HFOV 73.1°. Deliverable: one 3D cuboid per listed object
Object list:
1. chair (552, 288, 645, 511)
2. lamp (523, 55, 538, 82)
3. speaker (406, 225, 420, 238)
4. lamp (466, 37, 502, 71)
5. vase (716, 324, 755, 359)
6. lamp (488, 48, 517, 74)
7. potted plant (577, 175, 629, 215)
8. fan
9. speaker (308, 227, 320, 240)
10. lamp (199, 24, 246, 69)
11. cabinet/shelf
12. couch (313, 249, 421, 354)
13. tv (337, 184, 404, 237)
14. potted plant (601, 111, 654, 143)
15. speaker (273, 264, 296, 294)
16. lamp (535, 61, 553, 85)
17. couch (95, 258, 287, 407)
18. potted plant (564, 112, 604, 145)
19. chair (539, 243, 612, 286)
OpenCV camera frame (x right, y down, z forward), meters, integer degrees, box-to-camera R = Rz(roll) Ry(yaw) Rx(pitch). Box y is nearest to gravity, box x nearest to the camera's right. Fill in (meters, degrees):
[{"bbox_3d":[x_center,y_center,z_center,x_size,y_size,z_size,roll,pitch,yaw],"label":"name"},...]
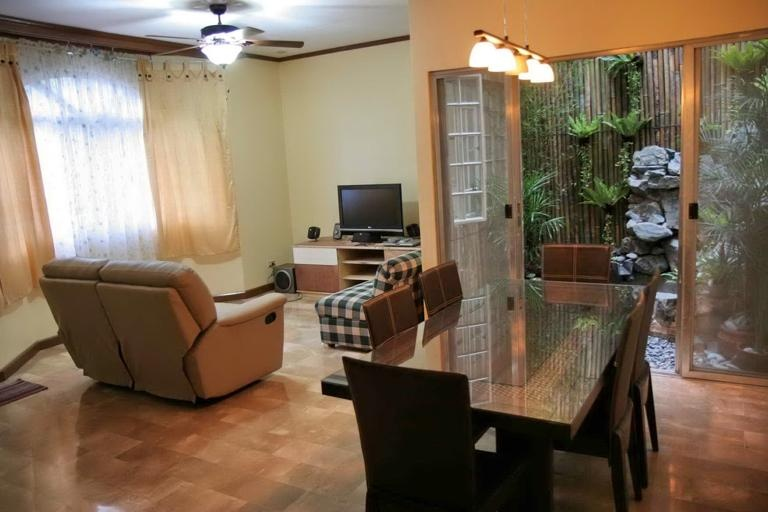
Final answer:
[{"bbox_3d":[1.284,0.880,2.951,0.555,1.289,0.336,-16,17,-42],"label":"chair"},{"bbox_3d":[0.944,-1.196,3.305,0.118,0.133,0.115,-3,15,-6],"label":"lamp"},{"bbox_3d":[0.404,-0.352,7.228,0.199,0.185,0.149,1,13,22],"label":"speaker"},{"bbox_3d":[0.633,-1.221,3.132,0.202,0.212,0.194,-5,12,-11],"label":"lamp"},{"bbox_3d":[2.933,0.718,4.376,0.252,0.258,0.263,-6,11,-35],"label":"vase"},{"bbox_3d":[0.710,-1.152,3.110,0.160,0.145,0.156,-4,13,-14],"label":"lamp"},{"bbox_3d":[3.045,-0.844,7.149,0.544,0.411,0.551,-5,12,30],"label":"potted plant"},{"bbox_3d":[-1.586,-2.230,5.346,1.132,0.449,1.125,-4,12,-5],"label":"fan"},{"bbox_3d":[-1.057,-0.322,7.661,0.170,0.206,0.181,-1,-2,23],"label":"speaker"},{"bbox_3d":[-1.659,-2.134,5.371,0.441,0.375,0.433,-17,24,-42],"label":"lamp"},{"bbox_3d":[-0.635,0.261,7.739,0.661,0.849,2.290,3,5,38],"label":"cabinet/shelf"},{"bbox_3d":[-0.080,0.478,5.956,0.846,0.930,1.453,1,6,19],"label":"couch"},{"bbox_3d":[-0.208,-0.619,7.308,1.017,0.708,0.268,-3,4,-28],"label":"tv"},{"bbox_3d":[3.287,-1.757,7.006,0.442,0.241,0.445,-1,3,24],"label":"potted plant"},{"bbox_3d":[-1.427,0.335,7.686,0.370,0.371,0.383,0,16,10],"label":"speaker"},{"bbox_3d":[1.049,-1.208,3.379,0.083,0.119,0.188,5,15,36],"label":"lamp"},{"bbox_3d":[-1.782,0.592,4.813,1.307,1.128,1.285,4,7,40],"label":"couch"},{"bbox_3d":[2.784,-1.753,7.249,0.383,0.304,0.433,2,8,24],"label":"potted plant"},{"bbox_3d":[1.598,0.184,4.336,0.542,0.306,0.490,0,51,21],"label":"chair"}]
